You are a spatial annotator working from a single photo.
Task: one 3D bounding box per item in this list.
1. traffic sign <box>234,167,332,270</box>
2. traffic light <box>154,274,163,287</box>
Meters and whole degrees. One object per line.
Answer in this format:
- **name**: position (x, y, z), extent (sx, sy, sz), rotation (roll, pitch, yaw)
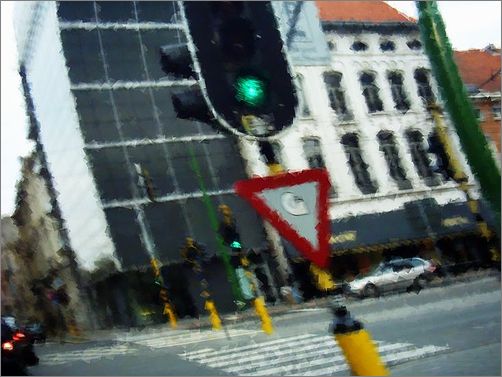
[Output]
- **traffic sign**: position (0.606, 0.445, 8.747), extent (1.172, 1.106, 0.680), rotation (-12, 4, 2)
- **traffic light**: position (-2.030, 2.078, 13.904), extent (0.073, 0.202, 0.214), rotation (-12, -21, -25)
